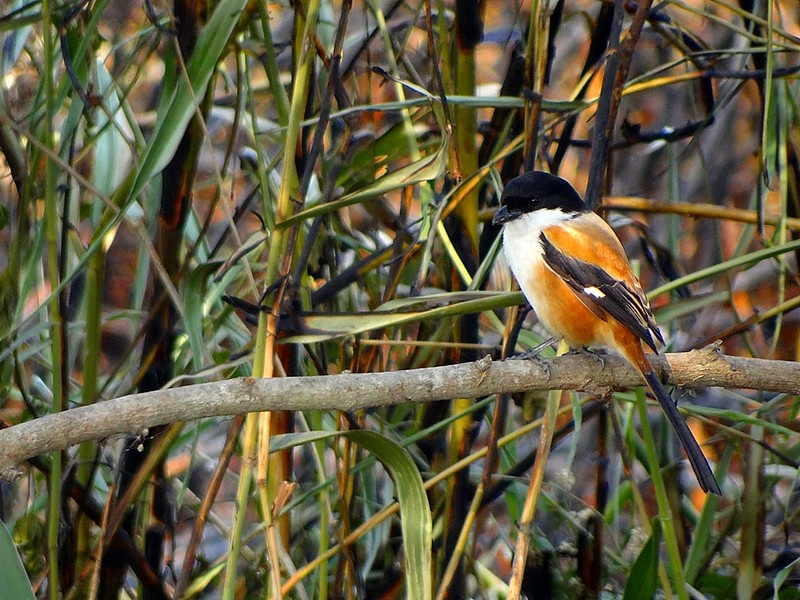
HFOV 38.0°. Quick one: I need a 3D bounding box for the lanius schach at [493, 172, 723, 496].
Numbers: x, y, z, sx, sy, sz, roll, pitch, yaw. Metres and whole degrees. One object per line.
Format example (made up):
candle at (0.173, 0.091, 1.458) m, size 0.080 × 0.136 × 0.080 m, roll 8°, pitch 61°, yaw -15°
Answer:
lanius schach at (0.713, 0.097, 4.468) m, size 0.639 × 1.260 × 0.586 m, roll -6°, pitch -9°, yaw 4°
